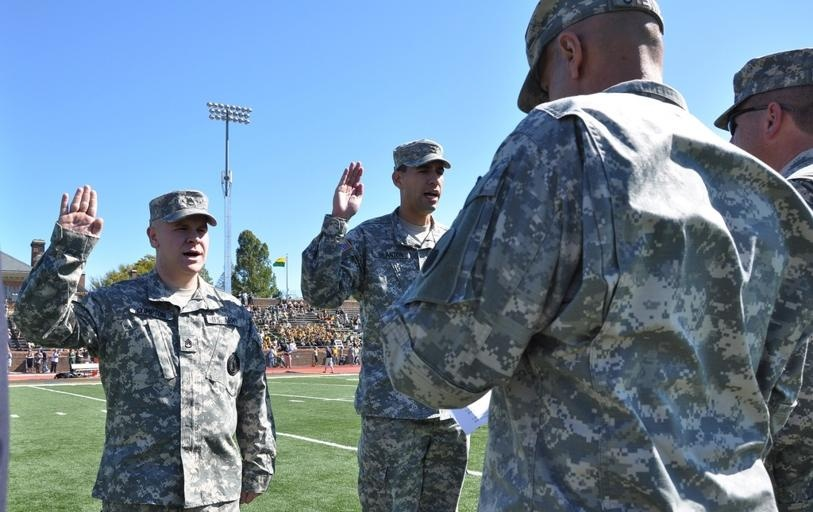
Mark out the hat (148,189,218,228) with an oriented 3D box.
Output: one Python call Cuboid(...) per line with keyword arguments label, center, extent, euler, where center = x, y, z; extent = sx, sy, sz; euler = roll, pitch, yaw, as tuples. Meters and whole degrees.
Cuboid(label="hat", center=(-1.376, -0.271, 4.710), extent=(0.387, 0.178, 0.285), euler=(-19, -18, 40))
